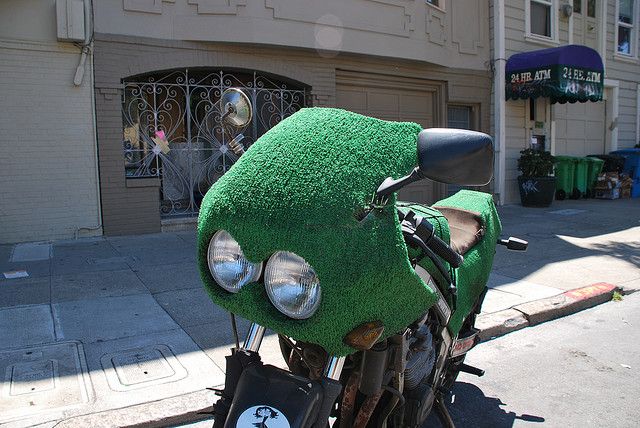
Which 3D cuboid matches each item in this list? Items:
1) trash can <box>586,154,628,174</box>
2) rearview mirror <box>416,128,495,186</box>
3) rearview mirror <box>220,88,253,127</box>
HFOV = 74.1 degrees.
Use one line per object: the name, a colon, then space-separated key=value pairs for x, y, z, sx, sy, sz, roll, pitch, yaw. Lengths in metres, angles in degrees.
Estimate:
trash can: x=10.882 y=-1.939 z=16.087 sx=0.783 sy=0.742 sz=1.057 roll=-1 pitch=2 yaw=-32
rearview mirror: x=0.652 y=-0.341 z=2.174 sx=0.419 sy=0.156 sz=0.301 roll=-10 pitch=0 yaw=-2
rearview mirror: x=-0.525 y=-0.676 z=2.630 sx=0.199 sy=0.246 sz=0.147 roll=-1 pitch=7 yaw=-6
